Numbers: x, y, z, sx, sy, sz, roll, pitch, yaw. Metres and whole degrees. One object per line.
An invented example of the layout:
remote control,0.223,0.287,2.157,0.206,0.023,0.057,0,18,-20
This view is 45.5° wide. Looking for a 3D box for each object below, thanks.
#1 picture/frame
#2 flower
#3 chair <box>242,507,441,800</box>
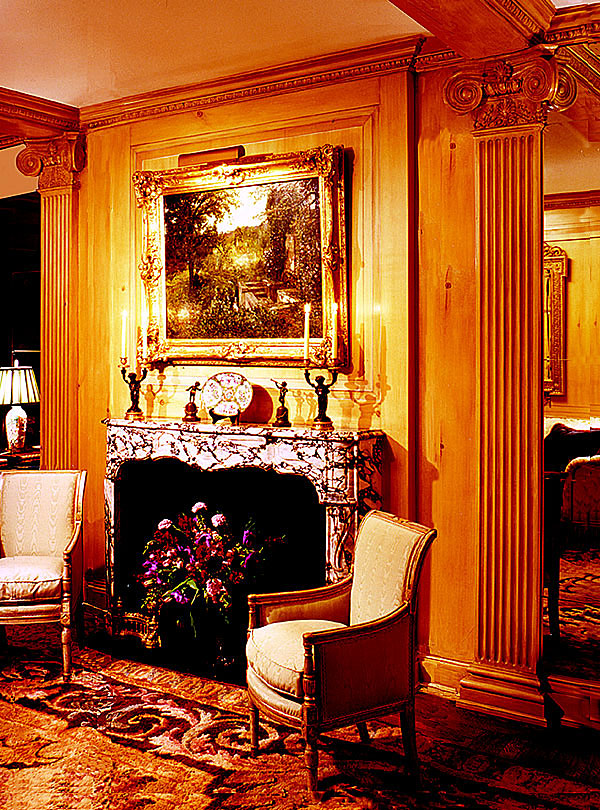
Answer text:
picture/frame,-0.348,-0.732,3.708,1.355,1.113,0.072,4,8,34
flower,-0.452,0.831,3.566,0.790,0.691,0.168,-3,-13,13
chair,0.130,0.839,2.498,0.666,0.774,0.666,-1,-1,8
